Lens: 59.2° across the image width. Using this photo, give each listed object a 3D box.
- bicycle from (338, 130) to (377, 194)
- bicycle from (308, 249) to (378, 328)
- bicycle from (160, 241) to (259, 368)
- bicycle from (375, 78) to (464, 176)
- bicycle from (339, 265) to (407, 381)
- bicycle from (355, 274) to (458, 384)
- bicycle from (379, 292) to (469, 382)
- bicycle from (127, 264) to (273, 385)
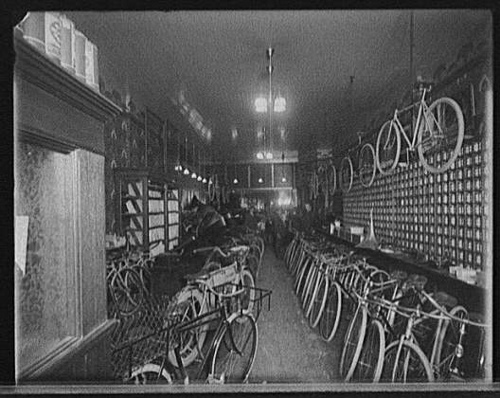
[{"bbox_3d":[0.588,-0.188,2.449,0.182,0.295,0.418,-1,-5,-16],"label":"bicycle"},{"bbox_3d":[0.527,0.457,2.567,0.271,0.586,0.256,18,-1,4],"label":"bicycle"},{"bbox_3d":[-0.226,0.701,2.579,0.410,0.642,0.919,8,-19,21],"label":"bicycle"},{"bbox_3d":[0.904,-0.375,2.475,0.220,0.520,0.656,3,-6,-26],"label":"bicycle"},{"bbox_3d":[0.622,0.688,2.408,0.275,0.437,0.604,3,-5,4],"label":"bicycle"},{"bbox_3d":[0.765,0.707,2.417,0.577,0.488,0.397,0,-7,-6],"label":"bicycle"},{"bbox_3d":[1.027,0.780,2.488,0.571,0.427,0.297,-2,-10,-36],"label":"bicycle"},{"bbox_3d":[-0.212,0.635,2.385,0.538,0.439,0.289,2,19,-12],"label":"bicycle"}]
